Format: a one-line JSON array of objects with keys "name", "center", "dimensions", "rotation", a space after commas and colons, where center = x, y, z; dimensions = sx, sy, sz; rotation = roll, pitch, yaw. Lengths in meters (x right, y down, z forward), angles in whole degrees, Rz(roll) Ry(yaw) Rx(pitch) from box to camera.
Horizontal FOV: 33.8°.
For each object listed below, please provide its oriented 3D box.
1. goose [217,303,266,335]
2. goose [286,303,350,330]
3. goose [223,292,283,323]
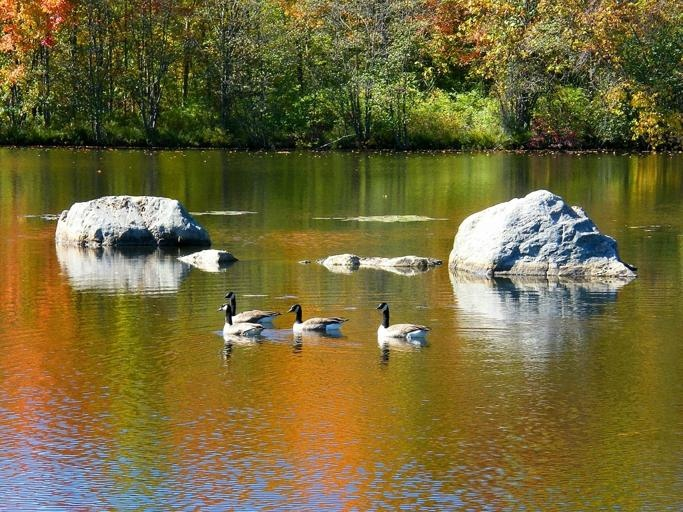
[{"name": "goose", "center": [-1.945, 1.279, 21.907], "dimensions": [1.148, 0.680, 0.492], "rotation": [0, 4, 36]}, {"name": "goose", "center": [-0.475, 1.293, 22.243], "dimensions": [1.292, 0.644, 0.463], "rotation": [1, -10, 4]}, {"name": "goose", "center": [-2.004, 1.100, 22.662], "dimensions": [1.541, 0.804, 0.486], "rotation": [4, -6, -10]}]
